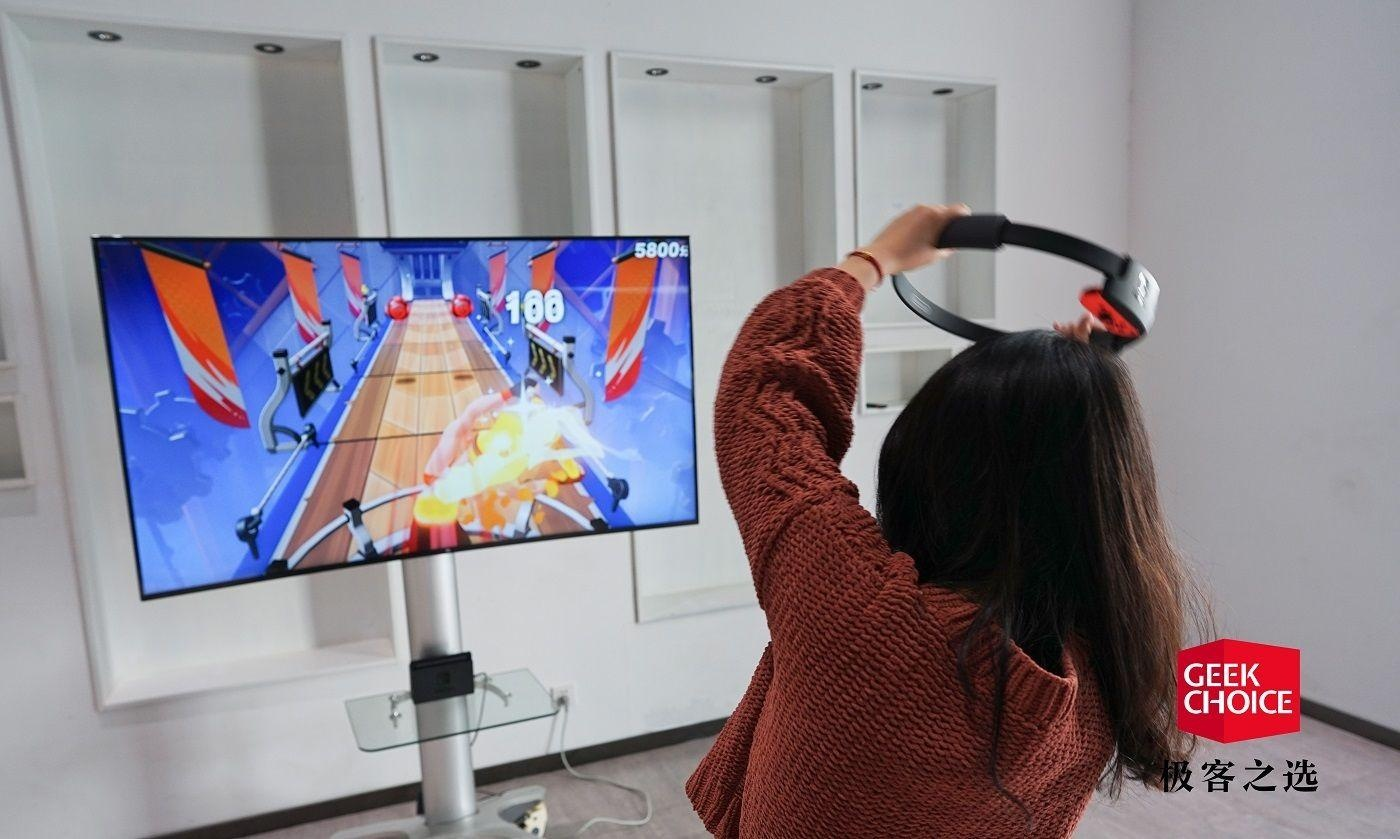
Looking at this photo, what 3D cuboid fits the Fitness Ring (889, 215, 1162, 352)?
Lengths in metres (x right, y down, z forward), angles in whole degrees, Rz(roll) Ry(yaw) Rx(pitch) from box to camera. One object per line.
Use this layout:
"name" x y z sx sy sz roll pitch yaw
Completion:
"Fitness Ring" 0.930 -0.420 2.940 0.584 0.450 0.154 23 59 5

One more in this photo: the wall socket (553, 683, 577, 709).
"wall socket" -0.616 1.256 4.906 0.117 0.102 0.043 0 -1 -32

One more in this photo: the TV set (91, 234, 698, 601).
"TV set" -1.180 -0.061 4.018 1.634 0.864 0.038 -5 6 -12
